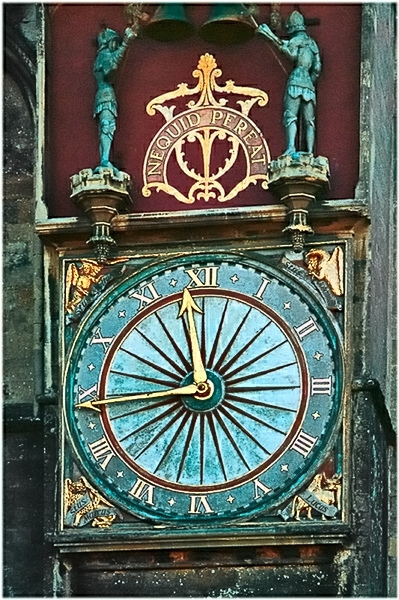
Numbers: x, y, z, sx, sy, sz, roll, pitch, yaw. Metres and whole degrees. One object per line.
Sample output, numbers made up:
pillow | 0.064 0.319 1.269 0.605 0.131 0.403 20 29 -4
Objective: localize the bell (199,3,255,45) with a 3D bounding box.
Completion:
bell | 0.207 -2.054 14.330 0.304 0.357 0.344 6 -42 -6

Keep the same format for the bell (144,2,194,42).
bell | -0.234 -2.089 14.415 0.374 0.253 0.302 1 -44 -2

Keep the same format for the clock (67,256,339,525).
clock | 0.085 0.683 13.237 1.592 1.792 0.212 -2 -19 8
